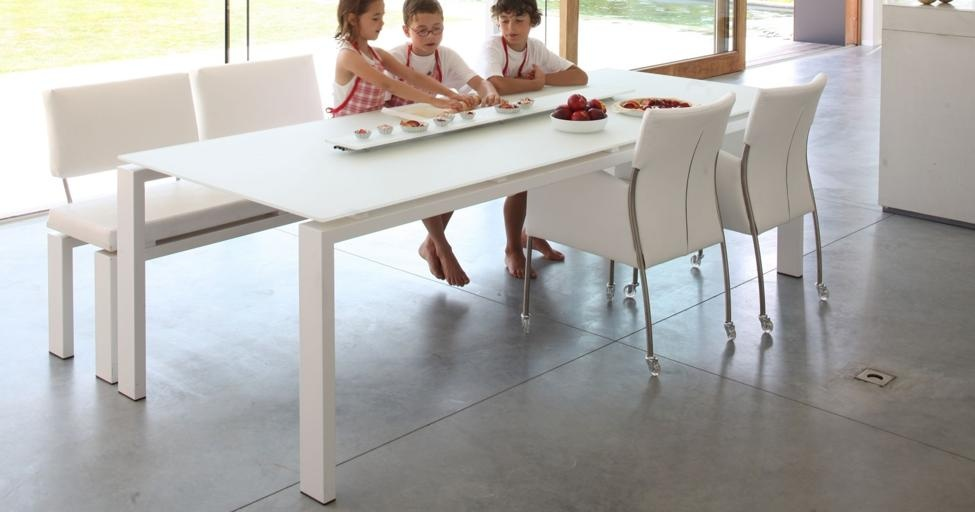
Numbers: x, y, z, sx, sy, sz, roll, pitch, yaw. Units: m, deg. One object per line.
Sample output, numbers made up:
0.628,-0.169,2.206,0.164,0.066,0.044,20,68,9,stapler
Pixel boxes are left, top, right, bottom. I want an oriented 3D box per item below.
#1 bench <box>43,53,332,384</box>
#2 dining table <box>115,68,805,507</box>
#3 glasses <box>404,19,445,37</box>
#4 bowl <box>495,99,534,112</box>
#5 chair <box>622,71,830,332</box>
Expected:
-1.600,-0.156,3.508,0.692,1.177,1.916,23,27,32,bench
-0.595,0.040,3.437,1.536,1.291,2.301,20,33,39,dining table
-0.422,-1.406,4.077,0.153,0.043,0.153,-12,17,-43,glasses
0.177,-0.862,3.766,0.173,0.047,0.124,-9,13,-19,bowl
1.470,-0.362,4.153,1.234,1.375,1.018,4,22,33,chair
